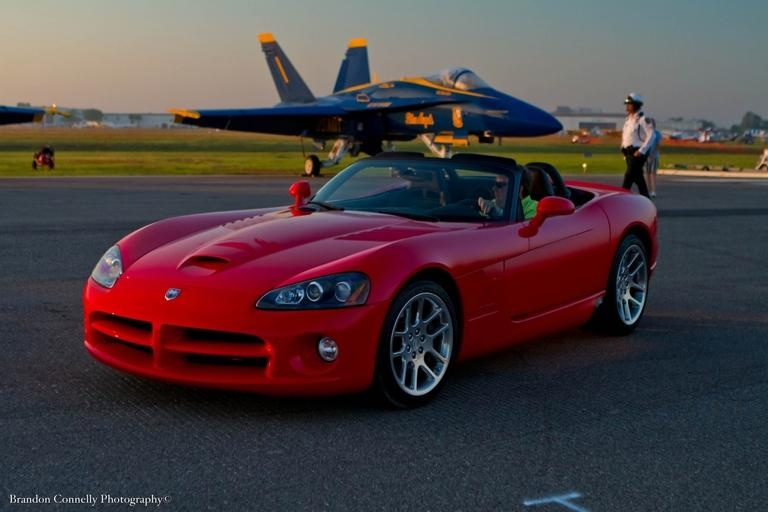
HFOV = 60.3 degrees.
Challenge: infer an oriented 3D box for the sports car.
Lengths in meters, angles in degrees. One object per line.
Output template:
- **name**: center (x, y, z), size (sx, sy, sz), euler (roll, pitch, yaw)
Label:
- **sports car**: center (0.163, -0.082, 5.990), size (5.279, 1.666, 2.624), euler (-8, 16, -37)

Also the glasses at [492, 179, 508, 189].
- **glasses**: center (1.023, -0.634, 5.744), size (0.030, 0.095, 0.092), euler (3, 0, -33)
